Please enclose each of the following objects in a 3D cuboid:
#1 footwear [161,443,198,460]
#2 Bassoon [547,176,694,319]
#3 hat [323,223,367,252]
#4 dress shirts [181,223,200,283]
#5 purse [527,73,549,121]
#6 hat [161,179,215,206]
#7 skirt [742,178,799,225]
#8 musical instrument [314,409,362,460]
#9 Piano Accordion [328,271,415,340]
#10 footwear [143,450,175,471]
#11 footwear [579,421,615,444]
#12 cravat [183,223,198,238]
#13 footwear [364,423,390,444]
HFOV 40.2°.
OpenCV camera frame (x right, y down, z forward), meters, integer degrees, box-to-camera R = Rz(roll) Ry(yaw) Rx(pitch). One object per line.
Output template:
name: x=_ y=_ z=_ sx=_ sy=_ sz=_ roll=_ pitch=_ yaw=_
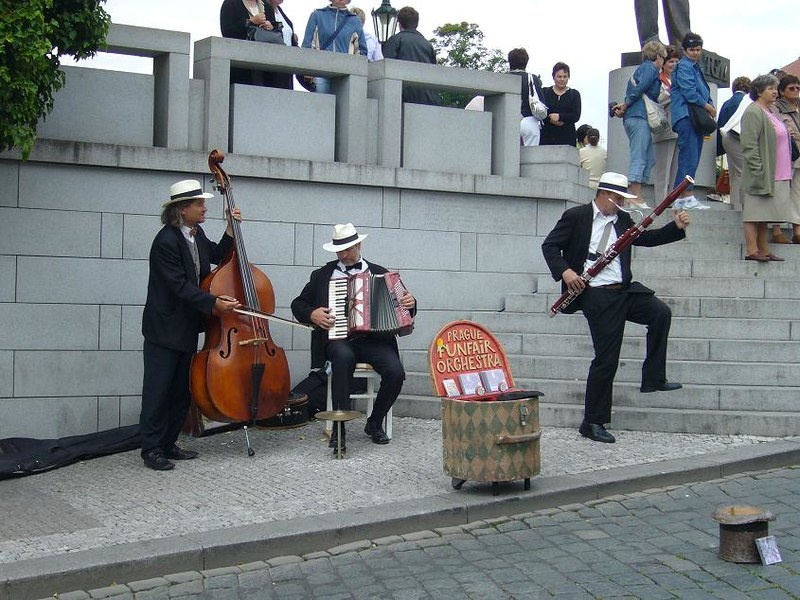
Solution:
footwear: x=-2.056 y=1.421 z=10.200 sx=0.308 sy=0.122 sz=0.117 roll=0 pitch=6 yaw=-6
Bassoon: x=2.122 y=-0.510 z=10.617 sx=1.295 sy=1.291 sz=0.690 roll=0 pitch=3 yaw=6
hat: x=-0.516 y=-0.597 z=10.791 sx=0.323 sy=0.143 sz=0.355 roll=-12 pitch=11 yaw=8
dress shirts: x=-1.939 y=-0.457 z=10.183 sx=0.104 sy=0.412 sz=0.302 roll=-5 pitch=-6 yaw=29
purse: x=1.763 y=-2.678 z=14.359 sx=0.190 sy=0.520 sz=0.330 roll=-22 pitch=-21 yaw=17
hat: x=-1.968 y=-1.004 z=10.148 sx=0.355 sy=0.130 sz=0.299 roll=-8 pitch=8 yaw=3
skirt: x=4.242 y=-1.135 z=12.666 sx=0.514 sy=0.498 sz=0.408 roll=-1 pitch=8 yaw=-29
musical instrument: x=-0.559 y=1.218 z=10.125 sx=0.450 sy=0.458 sz=0.483 roll=5 pitch=6 yaw=31
Piano Accordion: x=-0.293 y=0.067 z=10.455 sx=0.798 sy=0.655 sz=0.275 roll=-1 pitch=3 yaw=-5
footwear: x=-2.186 y=1.460 z=9.936 sx=0.308 sy=0.120 sz=0.142 roll=3 pitch=7 yaw=38
footwear: x=1.895 y=1.295 z=10.626 sx=0.362 sy=0.141 sz=0.137 roll=6 pitch=12 yaw=44
cravat: x=-1.963 y=-0.634 z=10.222 sx=0.090 sy=0.073 sz=0.109 roll=-3 pitch=13 yaw=-31
footwear: x=-0.232 y=1.328 z=10.705 sx=0.125 sy=0.119 sz=0.285 roll=-2 pitch=6 yaw=-34
